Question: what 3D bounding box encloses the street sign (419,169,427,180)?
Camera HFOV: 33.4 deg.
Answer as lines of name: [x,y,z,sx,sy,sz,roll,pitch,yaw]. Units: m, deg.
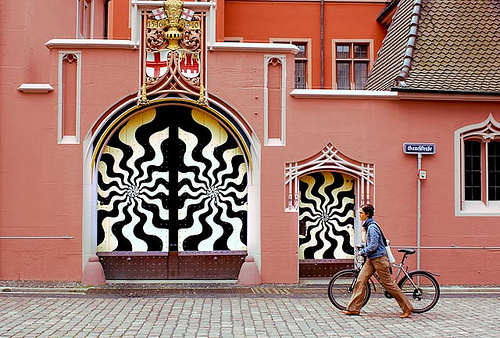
street sign: [4.983,0.177,23.978,0.278,0.253,0.263,0,-9,8]
